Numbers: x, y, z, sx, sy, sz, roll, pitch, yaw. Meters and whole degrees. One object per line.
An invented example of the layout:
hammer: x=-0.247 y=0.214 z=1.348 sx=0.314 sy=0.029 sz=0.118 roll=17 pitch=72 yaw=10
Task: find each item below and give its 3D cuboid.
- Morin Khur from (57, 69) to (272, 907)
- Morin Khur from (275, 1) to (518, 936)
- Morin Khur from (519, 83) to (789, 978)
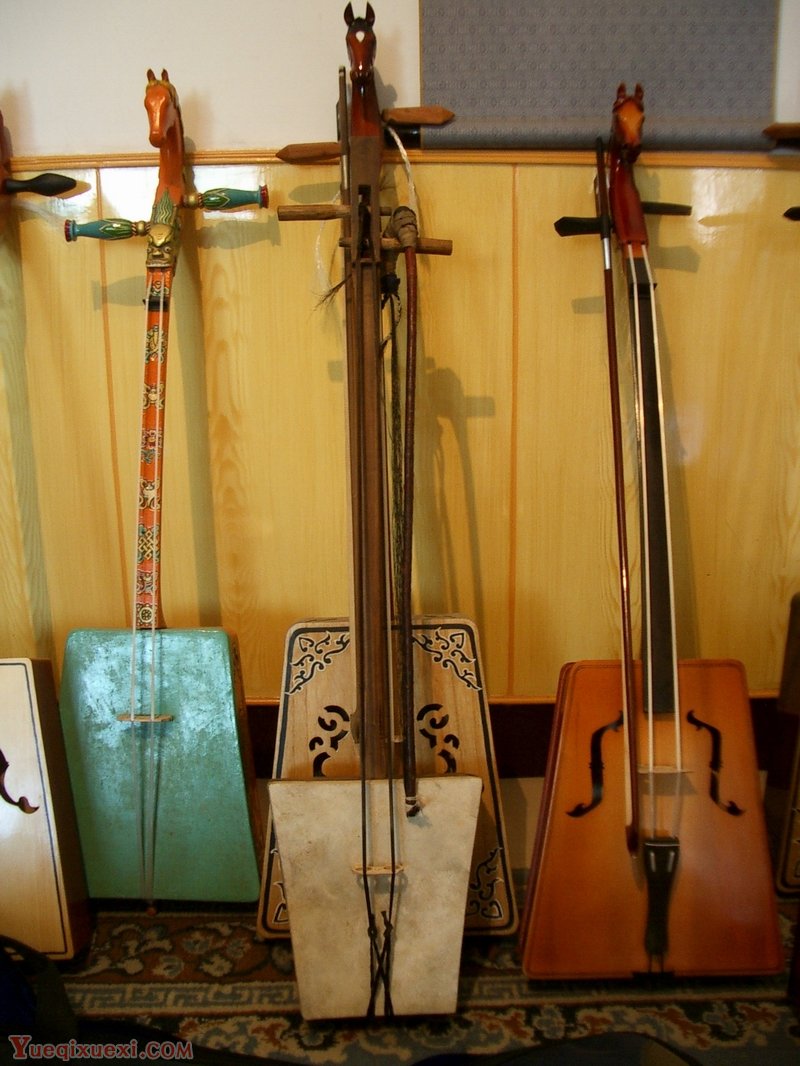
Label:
Morin Khur: x=-0.429 y=-0.068 z=1.956 sx=0.411 sy=1.524 sz=0.434 roll=-1 pitch=14 yaw=9
Morin Khur: x=-0.049 y=-0.080 z=1.863 sx=0.471 sy=1.659 sz=0.608 roll=-2 pitch=14 yaw=5
Morin Khur: x=0.425 y=-0.009 z=1.856 sx=0.450 sy=1.530 sz=0.536 roll=-2 pitch=14 yaw=6
